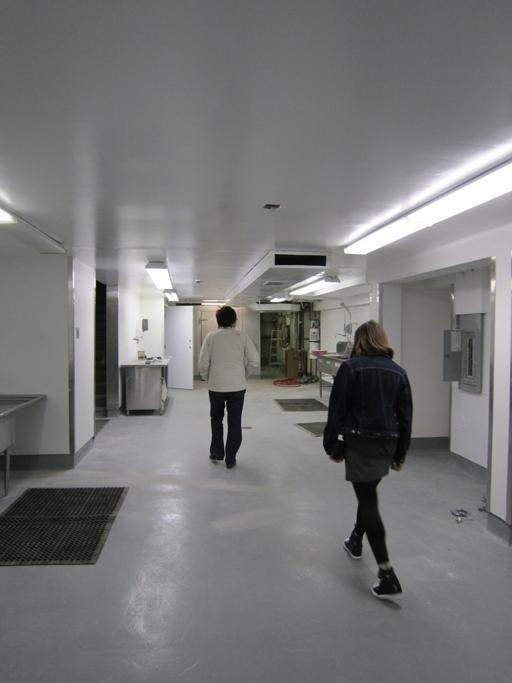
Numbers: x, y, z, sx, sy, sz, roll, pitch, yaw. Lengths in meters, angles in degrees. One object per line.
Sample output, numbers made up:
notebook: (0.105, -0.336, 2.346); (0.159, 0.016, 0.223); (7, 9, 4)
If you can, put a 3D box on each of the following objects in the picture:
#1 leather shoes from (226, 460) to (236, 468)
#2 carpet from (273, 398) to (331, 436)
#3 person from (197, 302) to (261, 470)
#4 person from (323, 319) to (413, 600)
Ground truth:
leather shoes: (-0.270, 1.278, 4.820); (0.096, 0.076, 0.151); (0, 1, 1)
carpet: (0.822, 1.252, 8.199); (0.947, 0.032, 3.450); (0, 1, 2)
person: (-0.293, 0.468, 4.953); (0.616, 1.698, 0.460); (0, 1, 0)
person: (0.613, 0.618, 2.558); (0.441, 1.468, 0.351); (1, 1, 24)
